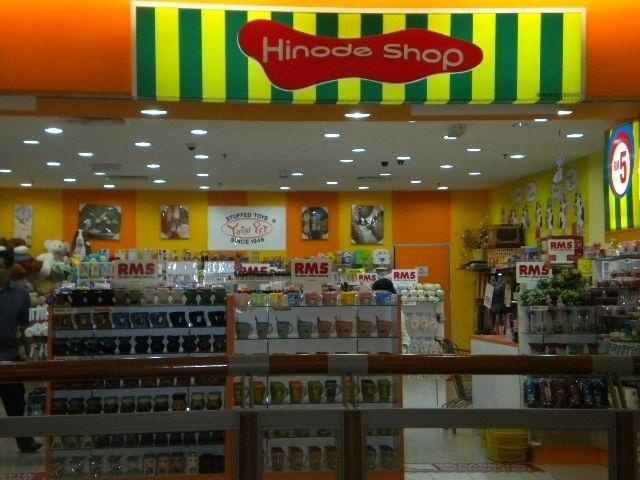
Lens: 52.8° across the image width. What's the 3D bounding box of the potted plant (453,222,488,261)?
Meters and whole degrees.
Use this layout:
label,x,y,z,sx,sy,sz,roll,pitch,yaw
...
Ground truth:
label,x,y,z,sx,sy,sz,roll,pitch,yaw
potted plant,3.106,0.032,13.440,0.745,0.863,0.659,3,-4,-34
